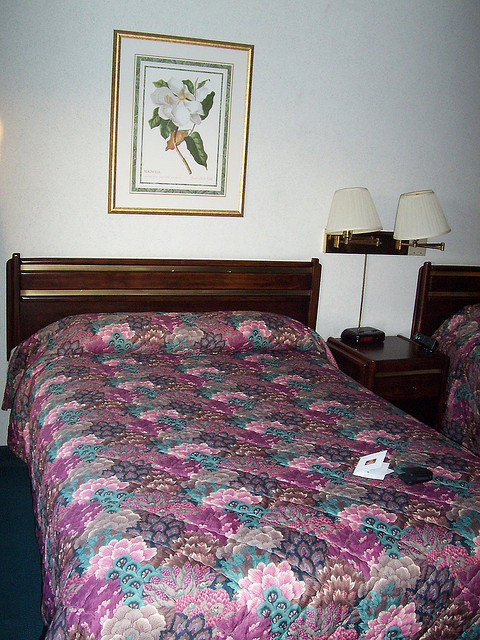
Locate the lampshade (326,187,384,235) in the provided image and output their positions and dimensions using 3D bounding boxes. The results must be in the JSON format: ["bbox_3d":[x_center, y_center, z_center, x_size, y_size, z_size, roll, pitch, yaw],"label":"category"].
[{"bbox_3d":[0.686,-0.606,3.003,0.375,0.275,0.377,1,-10,23],"label":"lampshade"}]

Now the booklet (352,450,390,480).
[{"bbox_3d":[0.383,0.406,1.395,0.079,0.020,0.076,-2,41,24],"label":"booklet"}]

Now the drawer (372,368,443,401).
[{"bbox_3d":[1.052,0.394,2.964,0.337,0.175,0.243,-2,16,-12],"label":"drawer"}]

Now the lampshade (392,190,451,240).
[{"bbox_3d":[1.145,-0.674,2.990,0.321,0.230,0.311,-16,13,-29],"label":"lampshade"}]

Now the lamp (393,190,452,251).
[{"bbox_3d":[1.119,-0.619,3.049,0.315,0.411,0.310,-10,33,9],"label":"lamp"}]

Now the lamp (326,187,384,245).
[{"bbox_3d":[0.696,-0.618,2.997,0.360,0.339,0.373,1,11,30],"label":"lamp"}]
